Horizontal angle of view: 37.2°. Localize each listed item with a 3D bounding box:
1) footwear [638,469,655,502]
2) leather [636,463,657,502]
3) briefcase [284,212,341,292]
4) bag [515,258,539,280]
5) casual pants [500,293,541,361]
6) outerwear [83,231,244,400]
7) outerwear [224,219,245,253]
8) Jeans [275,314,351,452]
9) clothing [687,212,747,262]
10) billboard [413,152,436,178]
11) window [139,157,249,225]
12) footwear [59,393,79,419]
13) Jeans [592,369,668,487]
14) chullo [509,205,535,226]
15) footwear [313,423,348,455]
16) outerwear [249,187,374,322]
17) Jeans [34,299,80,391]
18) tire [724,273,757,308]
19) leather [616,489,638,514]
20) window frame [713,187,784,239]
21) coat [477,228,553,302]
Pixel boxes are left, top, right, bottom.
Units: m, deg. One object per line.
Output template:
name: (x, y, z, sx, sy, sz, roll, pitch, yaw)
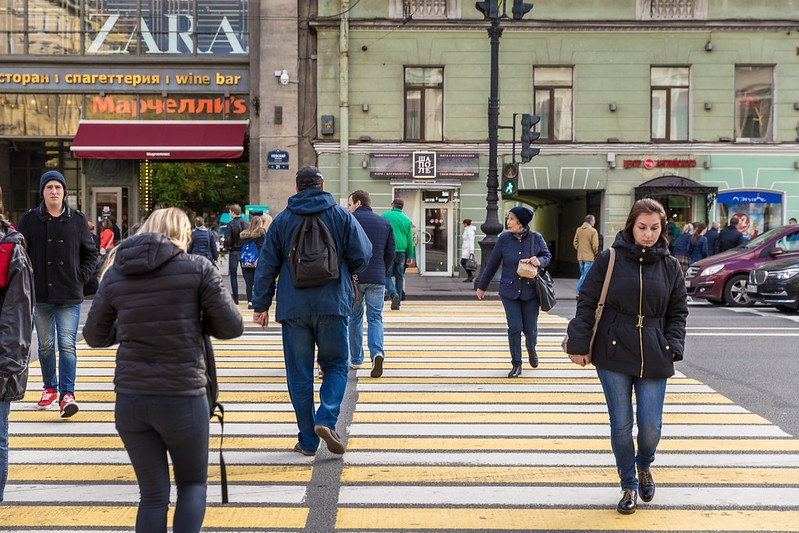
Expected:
footwear: (3.455, 3.142, 16.782, 0.185, 0.494, 0.196, -14, -33, 14)
leather: (3.472, 3.093, 16.797, 0.199, 0.530, 0.209, -10, -34, 11)
briefcase: (-1.294, -0.176, 17.424, 0.692, 0.995, 0.390, -8, -11, 6)
bag: (2.143, 0.068, 19.996, 0.338, 0.309, 0.150, 7, 11, 0)
casual pants: (2.073, 1.141, 20.441, 0.596, 1.207, 0.458, 1, 6, 9)
outerwear: (-2.985, 0.660, 16.680, 3.097, 2.632, 1.942, 0, 1, 5)
outerwear: (-3.786, -0.688, 27.319, 0.635, 0.828, 0.378, -6, 19, -35)
Jeans: (-1.261, 1.778, 17.523, 0.966, 2.092, 0.448, -1, 6, -6)
clothing: (8.084, -0.713, 30.535, 1.384, 0.524, 0.411, -21, -5, 13)
billboard: (0.692, -2.976, 34.298, 0.751, 0.780, 0.117, 0, 1, 2)
window: (-9.348, -3.842, 56.527, 5.715, 3.515, 4.988, -2, 6, -9)
footwear: (-5.195, 2.214, 18.582, 0.275, 0.368, 0.222, -2, 6, -16)
Jeans: (3.241, 2.327, 16.696, 0.890, 1.716, 0.313, 1, 6, 10)
chullo: (2.060, -0.854, 20.187, 0.379, 0.281, 0.291, 8, -3, 12)
footwear: (-1.031, 2.577, 17.496, 0.245, 0.631, 0.231, -27, 20, 37)
outerwear: (-1.321, -0.126, 17.842, 1.979, 1.840, 1.079, -3, -2, 13)
Jeans: (-5.428, 1.260, 18.687, 0.702, 1.882, 0.542, -4, -29, -16)
tire: (7.890, 0.543, 27.568, 0.773, 0.740, 0.247, 6, 9, 5)
leather: (3.218, 3.339, 16.680, 0.348, 0.336, 0.155, -3, 6, -28)
window frame: (9.746, -1.516, 33.483, 1.679, 1.181, 0.194, 0, 5, 0)
coat: (1.943, 0.002, 20.450, 1.244, 1.179, 0.641, 0, 14, 3)
